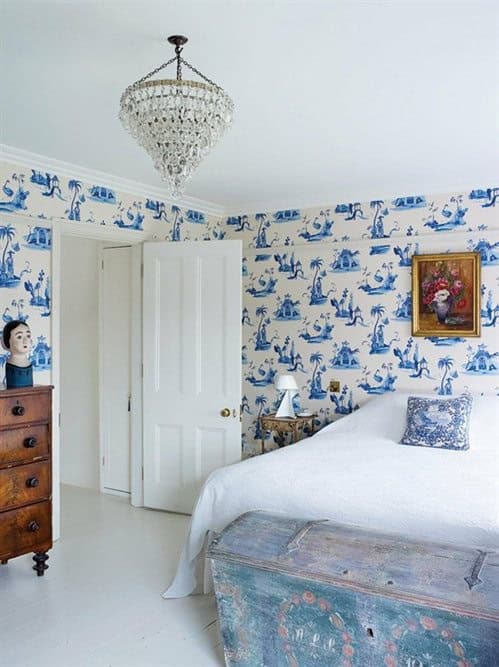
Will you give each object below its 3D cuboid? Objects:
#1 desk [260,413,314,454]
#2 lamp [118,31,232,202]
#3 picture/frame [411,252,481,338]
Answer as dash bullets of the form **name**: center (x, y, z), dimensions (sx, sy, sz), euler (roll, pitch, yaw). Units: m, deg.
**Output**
- **desk**: center (0.298, 0.767, 4.370), dimensions (0.350, 0.372, 0.383), euler (-1, -2, 20)
- **lamp**: center (-0.273, -0.700, 1.938), dimensions (0.371, 0.353, 0.267), euler (-1, -1, 25)
- **picture/frame**: center (1.428, -0.271, 3.859), dimensions (0.589, 0.833, 0.059), euler (-2, 1, 34)
